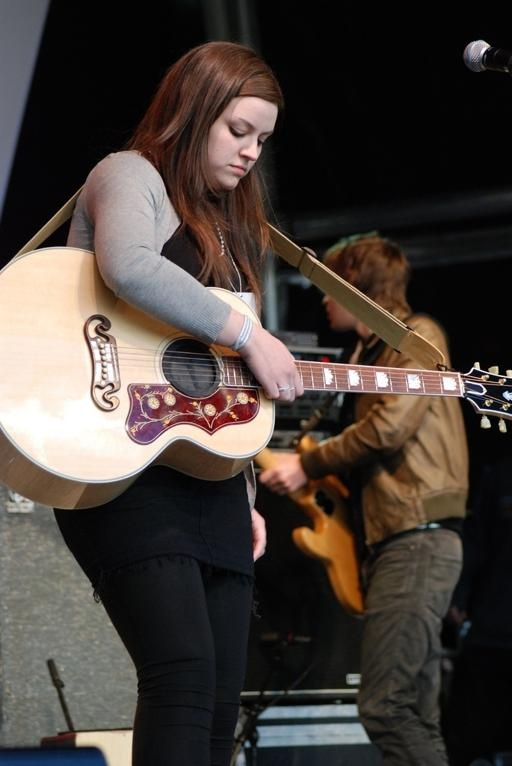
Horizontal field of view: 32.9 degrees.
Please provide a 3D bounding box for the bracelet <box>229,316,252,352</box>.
[{"bbox_3d":[-0.021,-0.088,1.545,0.015,0.055,0.054,14,45,0],"label":"bracelet"}]

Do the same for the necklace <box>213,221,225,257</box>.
[{"bbox_3d":[-0.073,-0.284,1.721,0.011,0.064,0.035,-5,-6,21],"label":"necklace"}]

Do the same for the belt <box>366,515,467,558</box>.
[{"bbox_3d":[0.538,0.490,2.779,0.229,0.045,0.119,-8,1,4],"label":"belt"}]
